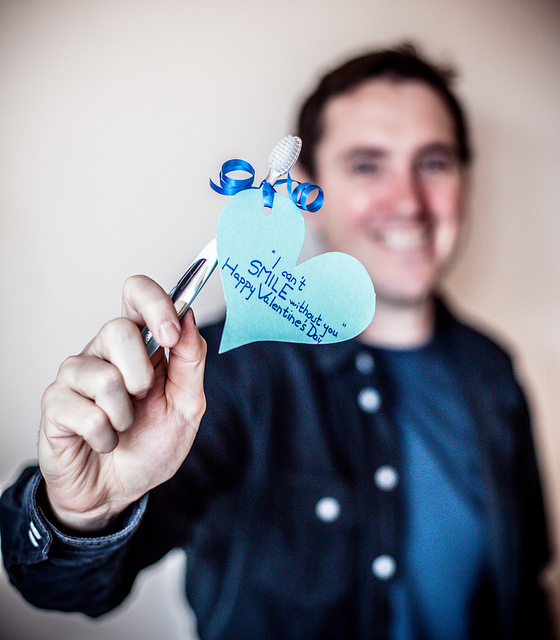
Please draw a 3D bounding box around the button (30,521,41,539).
[{"bbox_3d":[-0.414,0.354,1.151,0.006,0.021,0.027,-26,36,-34],"label":"button"}]

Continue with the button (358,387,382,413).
[{"bbox_3d":[0.193,0.169,1.462,0.048,0.044,0.033,1,29,7],"label":"button"}]

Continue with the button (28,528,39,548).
[{"bbox_3d":[-0.418,0.368,1.155,0.006,0.027,0.026,-18,30,-3],"label":"button"}]

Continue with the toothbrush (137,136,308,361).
[{"bbox_3d":[-0.113,-0.140,1.228,0.052,0.061,0.585,34,77,34],"label":"toothbrush"}]

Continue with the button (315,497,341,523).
[{"bbox_3d":[0.100,0.394,1.421,0.052,0.041,0.033,-3,29,1],"label":"button"}]

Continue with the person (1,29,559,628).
[{"bbox_3d":[-0.024,0.059,1.397,1.138,1.116,0.671,-7,29,-6],"label":"person"}]

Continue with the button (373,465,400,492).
[{"bbox_3d":[0.223,0.330,1.425,0.047,0.050,0.043,14,33,29],"label":"button"}]

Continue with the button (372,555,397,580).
[{"bbox_3d":[0.214,0.502,1.391,0.046,0.035,0.032,-4,29,-2],"label":"button"}]
